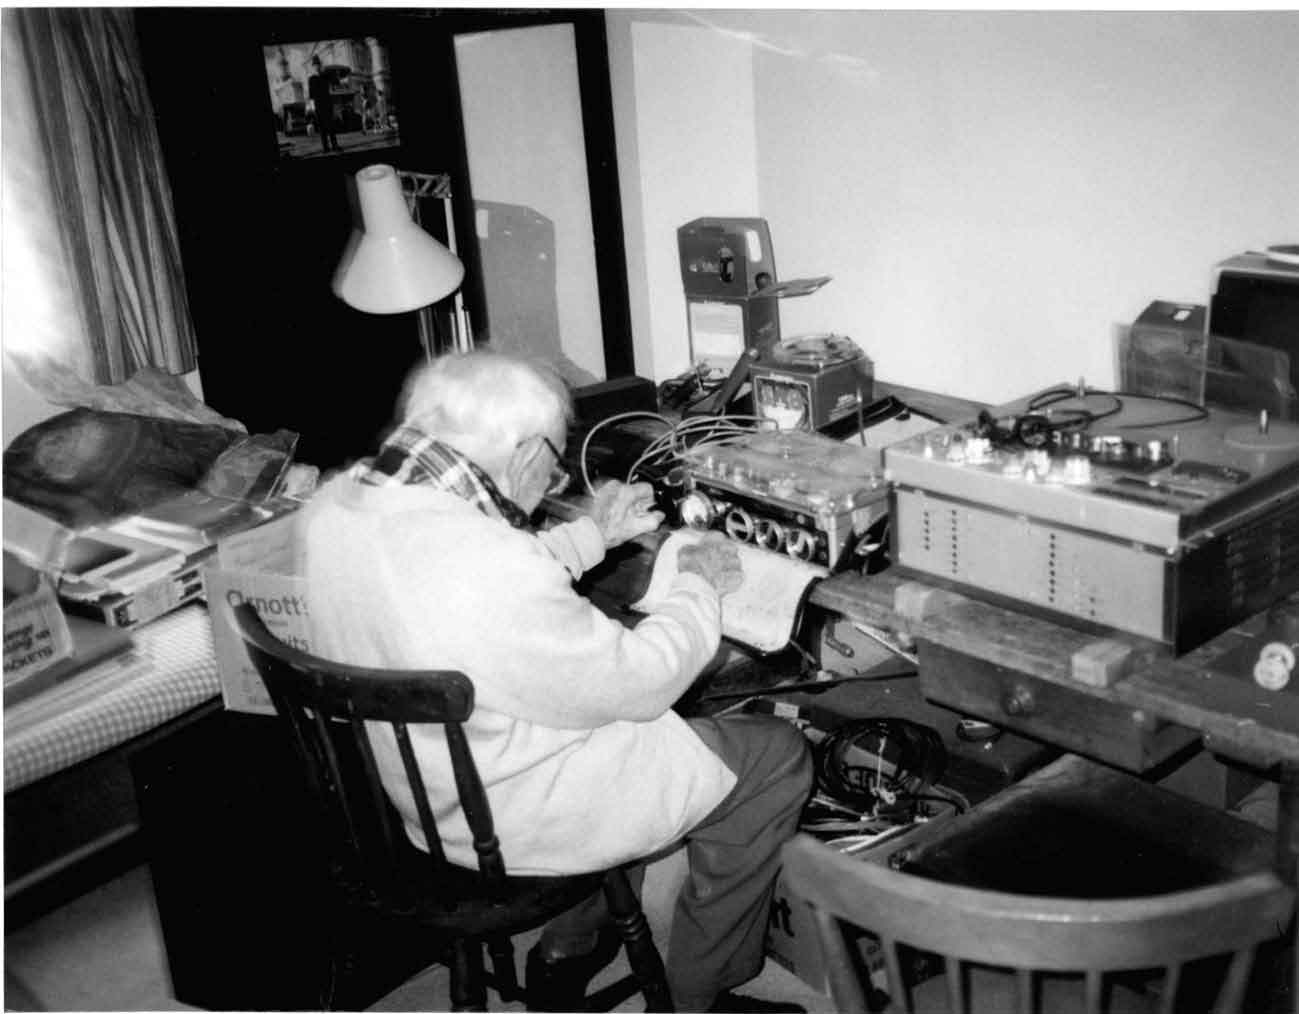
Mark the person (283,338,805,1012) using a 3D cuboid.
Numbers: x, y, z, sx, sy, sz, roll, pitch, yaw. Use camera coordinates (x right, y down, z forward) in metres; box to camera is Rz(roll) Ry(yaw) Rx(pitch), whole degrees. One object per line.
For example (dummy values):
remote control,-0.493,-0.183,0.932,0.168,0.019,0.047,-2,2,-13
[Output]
person,-0.286,0.096,2.238,1.011,1.525,0.894,-16,25,-34
